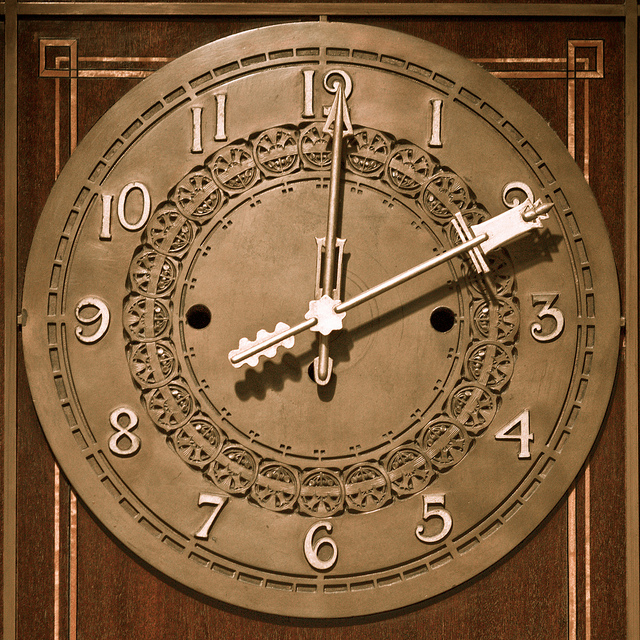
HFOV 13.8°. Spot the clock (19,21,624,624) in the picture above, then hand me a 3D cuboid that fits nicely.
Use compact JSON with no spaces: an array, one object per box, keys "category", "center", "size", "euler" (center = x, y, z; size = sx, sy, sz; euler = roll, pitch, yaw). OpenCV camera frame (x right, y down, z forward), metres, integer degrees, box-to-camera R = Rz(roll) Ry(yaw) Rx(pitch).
[{"category":"clock","center":[0.000,0.061,5.772],"size":[1.069,0.155,1.307],"euler":[1,-93,-2]}]
